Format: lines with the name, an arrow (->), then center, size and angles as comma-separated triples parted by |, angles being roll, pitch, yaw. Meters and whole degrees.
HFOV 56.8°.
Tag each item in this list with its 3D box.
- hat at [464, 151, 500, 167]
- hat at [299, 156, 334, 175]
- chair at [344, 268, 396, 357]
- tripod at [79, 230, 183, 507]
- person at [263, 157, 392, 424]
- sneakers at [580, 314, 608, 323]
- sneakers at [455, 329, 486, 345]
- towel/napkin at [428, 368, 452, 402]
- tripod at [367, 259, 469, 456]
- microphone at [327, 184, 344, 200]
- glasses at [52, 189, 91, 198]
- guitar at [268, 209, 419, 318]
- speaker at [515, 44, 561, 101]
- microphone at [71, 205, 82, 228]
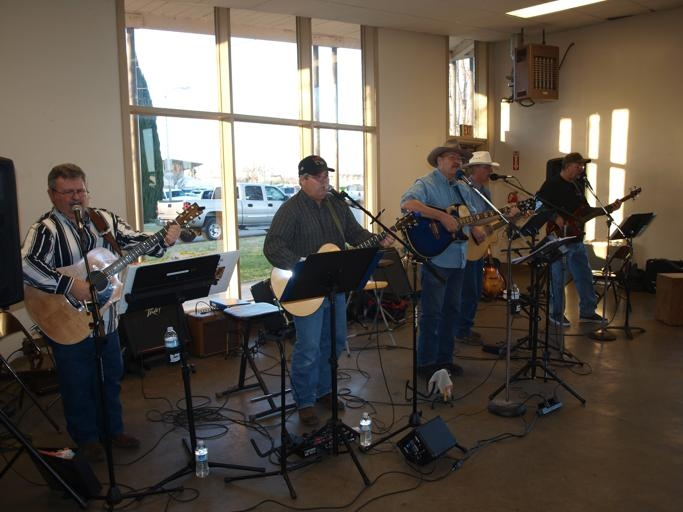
hat -> 1.460, -1.013, 6.620 | 0.345, 0.142, 0.302 | -4, 1, 36
hat -> -0.197, -0.697, 5.076 | 0.218, 0.128, 0.163 | -5, 12, 29
chair -> 0.445, 0.597, 7.577 | 0.758, 1.056, 0.668 | 2, -3, -14
tripod -> -1.626, 0.732, 4.557 | 0.460, 1.977, 0.750 | -9, 14, -26
person -> -0.117, 0.273, 5.221 | 0.936, 2.128, 0.798 | -12, 16, -40
sneakers -> 3.008, 0.736, 7.554 | 0.275, 0.117, 0.107 | -1, 0, 12
sneakers -> 1.445, 0.903, 7.041 | 0.265, 0.122, 0.127 | 4, 4, 6
towel/napkin -> 0.872, 1.128, 5.529 | 0.124, 0.164, 0.383 | 0, -19, -2
tripod -> 0.491, 0.729, 5.138 | 0.372, 1.402, 0.999 | 2, 13, 18
microphone -> -0.032, -0.474, 4.844 | 0.123, 0.110, 0.175 | -3, 13, -3
glasses -> -2.000, -0.467, 4.706 | 0.224, 0.061, 0.094 | -10, 15, -30
guitar -> 0.021, 0.047, 5.029 | 1.384, 0.555, 0.142 | -33, 9, -21
speaker -> 2.947, -2.779, 9.586 | 0.651, 0.815, 0.363 | 1, 13, 14
microphone -> -1.850, -0.284, 4.450 | 0.052, 0.207, 0.055 | 29, 48, 16
